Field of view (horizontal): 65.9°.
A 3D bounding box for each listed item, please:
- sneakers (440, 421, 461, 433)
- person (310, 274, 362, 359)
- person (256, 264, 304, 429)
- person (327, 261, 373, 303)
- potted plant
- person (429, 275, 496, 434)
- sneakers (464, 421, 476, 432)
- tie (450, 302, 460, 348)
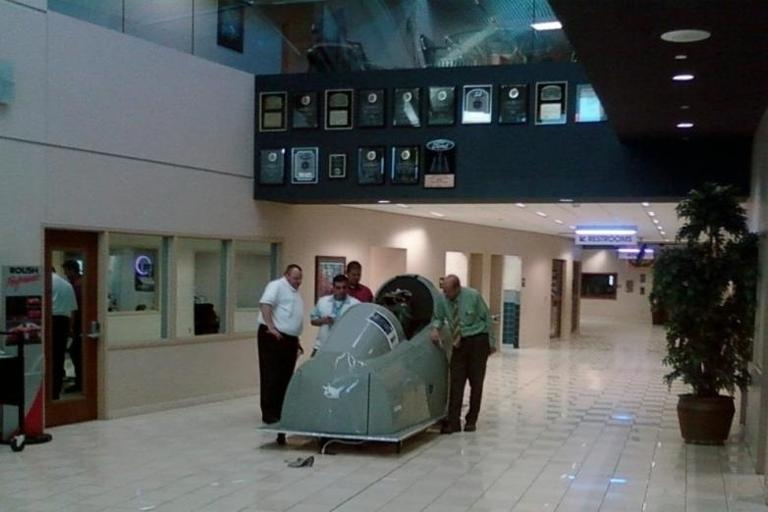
[{"bbox_3d":[0.911,2.357,8.147,0.267,0.168,0.271,-1,-1,11],"label":"sneakers"},{"bbox_3d":[-0.696,0.768,8.263,0.639,1.108,0.422,-1,0,-6],"label":"person"},{"bbox_3d":[-1.449,1.256,8.343,0.620,2.474,0.510,-1,0,-11],"label":"person"},{"bbox_3d":[-0.473,0.416,8.724,0.878,0.746,0.462,0,-4,-9],"label":"person"},{"bbox_3d":[4.200,0.755,7.767,1.186,3.242,0.569,-1,0,24],"label":"potted plant"},{"bbox_3d":[1.105,1.358,8.285,0.876,2.191,0.418,-1,0,-8],"label":"person"},{"bbox_3d":[1.198,2.401,8.298,0.143,0.140,0.101,0,1,-2],"label":"sneakers"},{"bbox_3d":[1.010,0.982,8.273,0.111,0.609,0.096,-1,0,12],"label":"tie"}]
